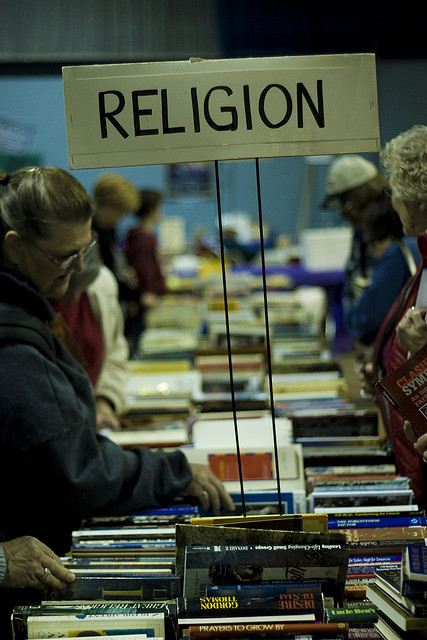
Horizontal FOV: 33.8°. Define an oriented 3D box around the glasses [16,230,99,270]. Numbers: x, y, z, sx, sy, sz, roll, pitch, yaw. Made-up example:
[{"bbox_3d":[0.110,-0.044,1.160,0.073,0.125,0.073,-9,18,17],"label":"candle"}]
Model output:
[{"bbox_3d":[-0.409,-0.169,1.790,0.133,0.039,0.133,32,15,7],"label":"glasses"}]
